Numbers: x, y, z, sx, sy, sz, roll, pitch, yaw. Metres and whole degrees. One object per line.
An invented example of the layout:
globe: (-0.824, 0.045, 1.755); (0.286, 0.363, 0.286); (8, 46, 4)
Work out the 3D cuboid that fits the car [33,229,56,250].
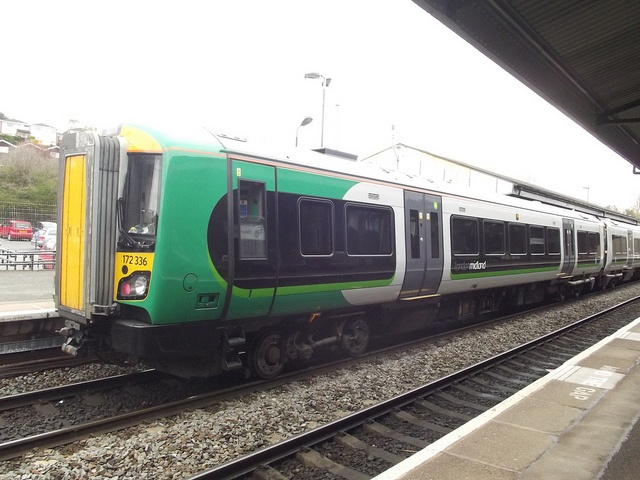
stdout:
car: (-17.081, -0.073, 27.691); (1.632, 0.805, 1.016); (9, 12, 30)
